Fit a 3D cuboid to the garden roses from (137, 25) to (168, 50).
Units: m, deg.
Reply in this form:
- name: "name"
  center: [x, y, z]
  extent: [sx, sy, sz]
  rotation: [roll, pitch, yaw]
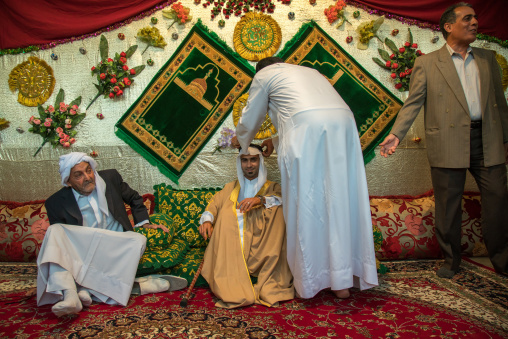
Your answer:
- name: "garden roses"
  center: [-1.430, -1.848, 5.958]
  extent: [0.307, 0.322, 0.183]
  rotation: [-5, -1, -36]

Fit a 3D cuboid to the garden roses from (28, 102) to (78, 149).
- name: "garden roses"
  center: [-2.782, -0.636, 5.968]
  extent: [0.541, 0.704, 0.227]
  rotation: [39, 2, -7]

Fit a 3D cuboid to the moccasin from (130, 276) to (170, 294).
- name: "moccasin"
  center: [-1.185, 1.297, 4.932]
  extent: [0.477, 0.189, 0.202]
  rotation: [-6, -1, -8]

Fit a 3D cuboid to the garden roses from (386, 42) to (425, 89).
- name: "garden roses"
  center: [2.218, -1.489, 6.259]
  extent: [0.581, 0.630, 0.309]
  rotation: [-27, 12, 16]

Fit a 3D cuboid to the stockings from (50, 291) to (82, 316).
- name: "stockings"
  center: [-1.930, 1.395, 4.373]
  extent: [0.274, 0.277, 0.274]
  rotation: [2, -2, -24]

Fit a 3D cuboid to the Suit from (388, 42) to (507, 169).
- name: "Suit"
  center: [2.430, -0.855, 5.202]
  extent: [1.506, 1.404, 0.495]
  rotation: [-2, 3, 1]

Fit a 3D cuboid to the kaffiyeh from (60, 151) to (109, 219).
- name: "kaffiyeh"
  center: [-1.962, 0.117, 4.923]
  extent: [0.494, 0.788, 0.321]
  rotation: [-5, 6, -3]

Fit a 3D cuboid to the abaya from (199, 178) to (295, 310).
- name: "abaya"
  center: [-0.088, 0.803, 5.249]
  extent: [1.145, 0.706, 2.082]
  rotation: [-5, 35, -2]

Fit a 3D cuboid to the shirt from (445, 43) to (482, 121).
- name: "shirt"
  center: [2.494, -1.037, 5.016]
  extent: [0.370, 0.920, 0.103]
  rotation: [1, -2, 4]

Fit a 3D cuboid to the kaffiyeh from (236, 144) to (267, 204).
- name: "kaffiyeh"
  center: [-0.016, 0.032, 5.381]
  extent: [0.341, 0.273, 0.846]
  rotation: [4, 38, -14]

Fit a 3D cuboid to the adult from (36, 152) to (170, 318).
- name: "adult"
  center: [-1.819, 0.645, 4.892]
  extent: [1.269, 1.806, 1.607]
  rotation: [-4, 7, -5]

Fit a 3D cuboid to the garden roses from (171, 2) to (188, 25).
- name: "garden roses"
  center: [-1.019, -2.173, 5.908]
  extent: [0.242, 0.264, 0.105]
  rotation: [-43, 33, -14]

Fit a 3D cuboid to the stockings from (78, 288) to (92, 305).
- name: "stockings"
  center: [-1.854, 1.381, 4.606]
  extent: [0.104, 0.080, 0.202]
  rotation: [27, -7, -23]

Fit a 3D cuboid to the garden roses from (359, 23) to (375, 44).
- name: "garden roses"
  center: [1.596, -1.909, 5.975]
  extent: [0.209, 0.249, 0.097]
  rotation: [-19, -8, -1]

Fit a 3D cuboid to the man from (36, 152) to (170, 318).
- name: "man"
  center: [-1.886, 0.642, 4.845]
  extent: [1.226, 1.730, 1.604]
  rotation: [-2, 7, 1]

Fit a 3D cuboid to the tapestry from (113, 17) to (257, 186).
- name: "tapestry"
  center: [-1.259, -0.588, 6.055]
  extent: [1.861, 1.211, 0.167]
  rotation: [-29, 20, 46]

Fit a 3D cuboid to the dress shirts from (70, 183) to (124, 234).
- name: "dress shirts"
  center: [-1.864, 0.464, 4.932]
  extent: [0.334, 0.465, 0.239]
  rotation: [-27, 1, -39]
